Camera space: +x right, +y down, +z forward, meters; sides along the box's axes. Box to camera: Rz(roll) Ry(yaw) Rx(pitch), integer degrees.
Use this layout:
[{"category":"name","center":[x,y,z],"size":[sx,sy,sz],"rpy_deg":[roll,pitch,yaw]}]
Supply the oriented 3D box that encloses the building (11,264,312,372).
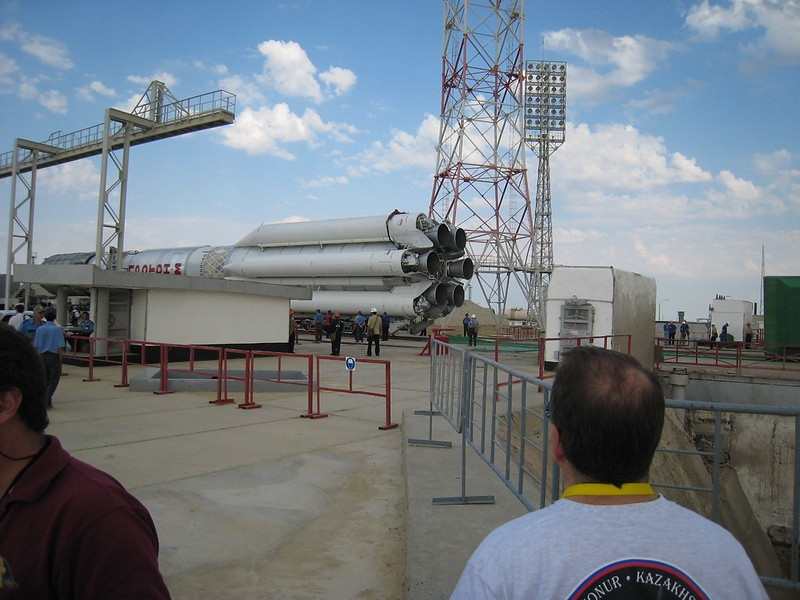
[{"category":"building","center":[-7.647,0.556,21.460],"size":[5.235,2.463,8.535],"rpy_deg":[-6,-6,36]}]

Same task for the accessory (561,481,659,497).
[{"category":"accessory","center":[0.726,0.672,2.367],"size":[0.123,0.024,0.135],"rpy_deg":[3,-5,2]}]

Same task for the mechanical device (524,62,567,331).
[{"category":"mechanical device","center":[12.692,-8.649,58.587],"size":[4.982,23.686,4.624],"rpy_deg":[-2,17,-2]}]
